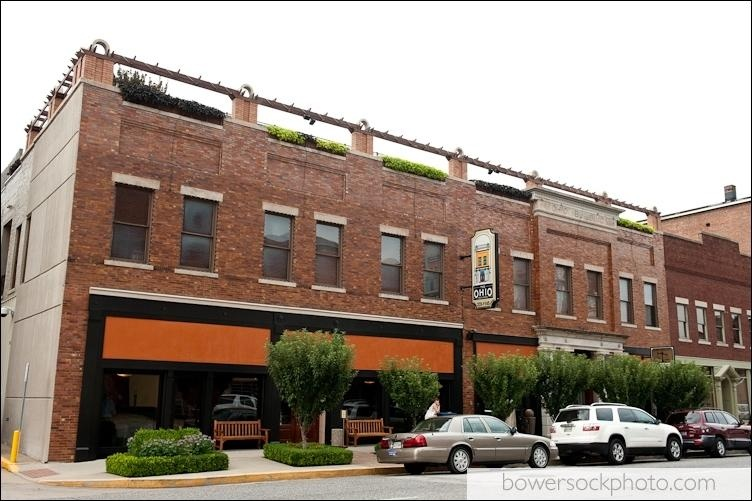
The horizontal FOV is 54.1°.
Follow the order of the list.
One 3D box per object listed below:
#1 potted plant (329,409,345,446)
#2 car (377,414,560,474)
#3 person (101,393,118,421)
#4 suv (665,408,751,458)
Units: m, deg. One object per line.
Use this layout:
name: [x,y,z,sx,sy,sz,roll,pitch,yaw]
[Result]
potted plant: [-1.547,7.233,29.773,0.603,1.536,1.314,-1,-20,-4]
car: [3.124,6.723,25.490,5.672,1.537,2.309,3,-11,-27]
person: [-9.651,5.725,26.602,0.186,0.924,0.502,-16,-24,34]
suv: [14.035,7.667,30.987,3.546,1.430,1.737,4,-10,-38]
